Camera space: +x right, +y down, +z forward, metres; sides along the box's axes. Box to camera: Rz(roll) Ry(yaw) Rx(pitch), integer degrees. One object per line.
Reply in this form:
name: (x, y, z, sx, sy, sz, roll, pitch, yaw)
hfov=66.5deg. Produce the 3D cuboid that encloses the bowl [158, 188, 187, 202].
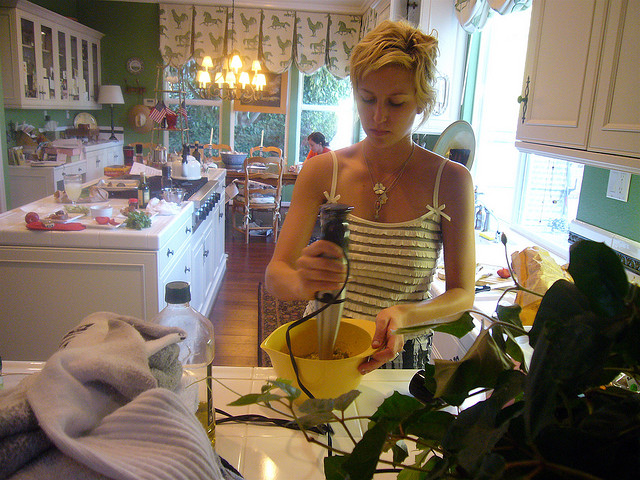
bowl: (-0.833, -0.255, 2.813, 0.084, 0.047, 0.103, 4, 12, 19)

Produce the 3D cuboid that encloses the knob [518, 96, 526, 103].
knob: (0.813, -0.564, 1.958, 0.006, 0.018, 0.025, -2, 7, -19)

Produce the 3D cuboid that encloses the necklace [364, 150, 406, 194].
necklace: (0.180, -0.181, 1.314, 0.119, 0.128, 0.004, 10, 38, 12)

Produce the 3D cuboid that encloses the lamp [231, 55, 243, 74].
lamp: (-0.772, -1.617, 4.494, 0.085, 0.193, 0.205, 0, 10, -8)

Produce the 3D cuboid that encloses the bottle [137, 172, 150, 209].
bottle: (-1.028, -0.291, 2.824, 0.060, 0.192, 0.268, -3, 11, -21)

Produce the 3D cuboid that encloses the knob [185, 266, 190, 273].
knob: (-0.769, 0.170, 2.816, 0.016, 0.045, 0.045, 0, 3, 35)

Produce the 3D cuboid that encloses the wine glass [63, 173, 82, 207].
wine glass: (-1.345, -0.263, 2.660, 0.094, 0.204, 0.093, 23, 26, 32)

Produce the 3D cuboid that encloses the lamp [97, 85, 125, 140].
lamp: (-2.888, -1.763, 6.735, 0.330, 0.743, 0.359, -2, 11, -19)

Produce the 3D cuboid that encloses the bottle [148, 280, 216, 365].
bottle: (-0.244, 0.143, 0.872, 0.106, 0.182, 0.099, 3, 32, -2)

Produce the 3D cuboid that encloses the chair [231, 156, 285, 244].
chair: (-0.714, -0.511, 5.762, 0.553, 0.991, 0.587, -6, 15, -35)

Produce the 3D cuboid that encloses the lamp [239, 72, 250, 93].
lamp: (-0.706, -1.478, 4.540, 0.085, 0.136, 0.098, 0, 10, -7)

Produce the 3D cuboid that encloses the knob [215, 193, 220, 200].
knob: (-0.871, -0.380, 4.193, 0.041, 0.042, 0.077, 1, -8, -4)

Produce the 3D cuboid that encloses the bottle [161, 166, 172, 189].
bottle: (-0.938, -0.383, 2.974, 0.050, 0.128, 0.078, -1, 10, -14)

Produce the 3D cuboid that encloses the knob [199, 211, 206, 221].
knob: (-0.764, -0.157, 3.170, 0.042, 0.044, 0.080, 4, -25, -10)
